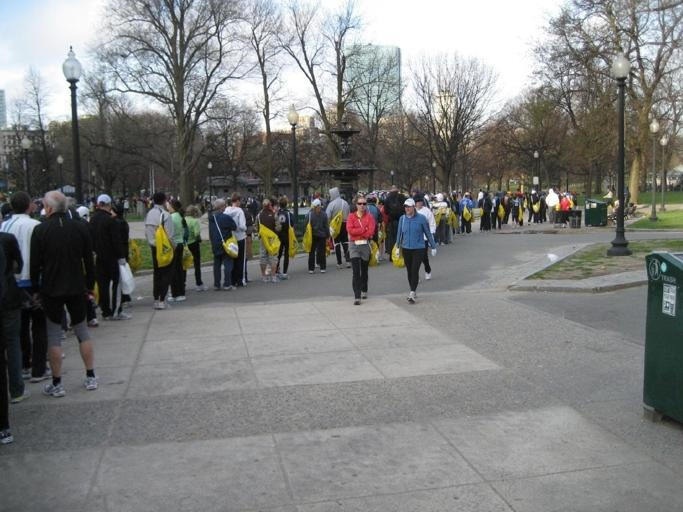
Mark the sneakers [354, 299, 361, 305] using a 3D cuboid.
[{"bbox_3d":[0.312,0.910,12.533,0.080,0.099,0.212,0,-6,2],"label":"sneakers"}]

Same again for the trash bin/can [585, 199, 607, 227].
[{"bbox_3d":[12.601,-2.318,31.548,1.015,2.059,1.445,0,4,31],"label":"trash bin/can"}]

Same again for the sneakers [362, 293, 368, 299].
[{"bbox_3d":[0.465,0.821,13.076,0.082,0.123,0.280,-1,-5,3],"label":"sneakers"}]

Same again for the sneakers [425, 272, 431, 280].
[{"bbox_3d":[2.093,0.499,15.354,0.091,0.210,0.192,1,-2,-10],"label":"sneakers"}]
